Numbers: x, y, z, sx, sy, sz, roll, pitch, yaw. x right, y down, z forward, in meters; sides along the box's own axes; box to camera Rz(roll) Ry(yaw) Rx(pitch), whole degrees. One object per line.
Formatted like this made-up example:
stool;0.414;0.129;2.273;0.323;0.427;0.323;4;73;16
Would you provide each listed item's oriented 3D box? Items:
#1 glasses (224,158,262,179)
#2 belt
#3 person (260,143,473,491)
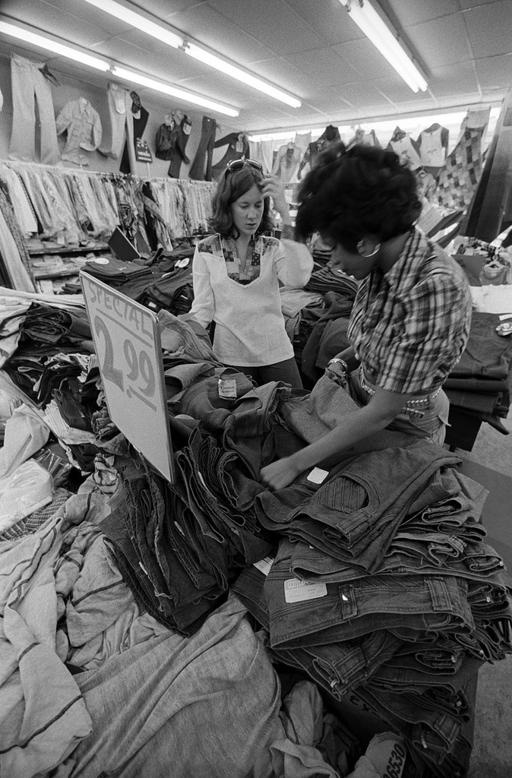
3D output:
glasses;-0.071;-0.838;1.717;0.099;0.030;0.099;-18;18;-42
belt;0.322;0.005;1.009;0.113;0.068;0.128;9;43;9
person;0.271;-0.138;1.027;0.381;0.730;0.440;12;27;20
